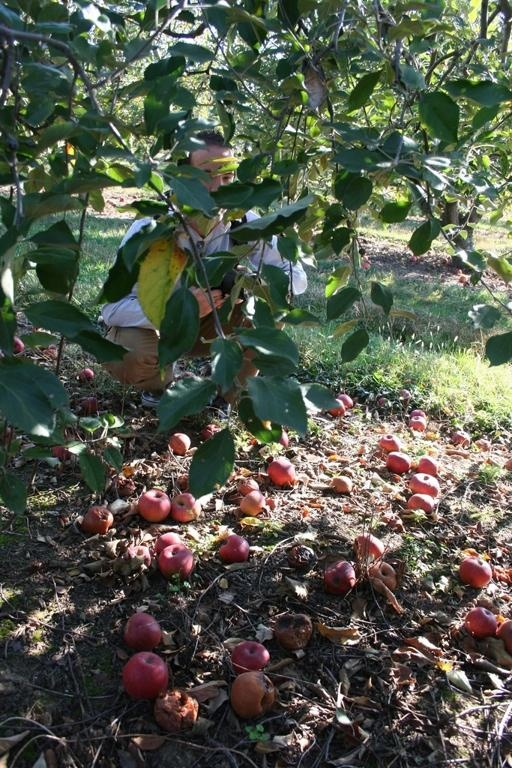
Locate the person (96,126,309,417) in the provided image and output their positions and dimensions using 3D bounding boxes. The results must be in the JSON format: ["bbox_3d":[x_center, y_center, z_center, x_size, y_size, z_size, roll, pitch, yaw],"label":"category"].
[{"bbox_3d":[-0.287,-0.501,3.012,1.115,1.310,0.776,-6,29,-27],"label":"person"}]
